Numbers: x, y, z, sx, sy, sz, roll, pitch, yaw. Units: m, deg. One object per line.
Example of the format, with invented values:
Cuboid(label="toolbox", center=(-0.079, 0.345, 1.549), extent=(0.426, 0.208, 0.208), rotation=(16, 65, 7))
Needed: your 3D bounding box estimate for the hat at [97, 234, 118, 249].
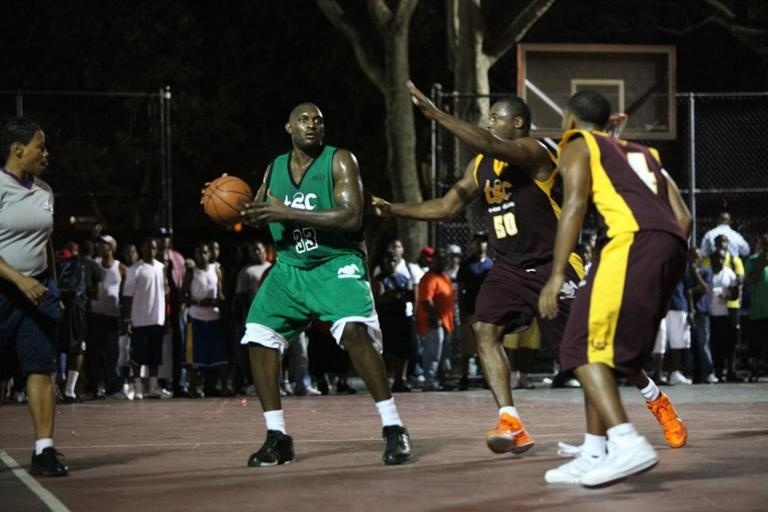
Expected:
Cuboid(label="hat", center=(-4.246, -0.212, 13.318), extent=(0.250, 0.133, 0.150), rotation=(36, -5, -38))
